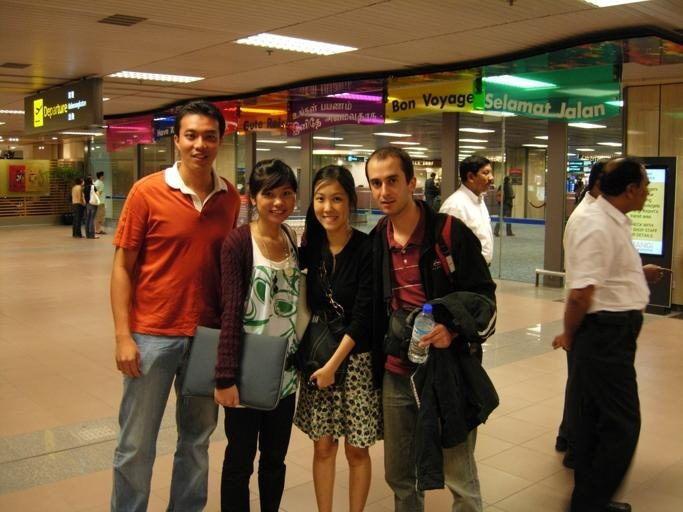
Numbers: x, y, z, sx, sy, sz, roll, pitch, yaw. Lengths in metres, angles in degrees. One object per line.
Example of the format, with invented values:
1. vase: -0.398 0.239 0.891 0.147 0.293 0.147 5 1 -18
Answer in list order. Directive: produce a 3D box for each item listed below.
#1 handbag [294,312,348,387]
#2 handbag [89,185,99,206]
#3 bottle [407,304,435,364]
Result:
1. handbag: -0.093 0.466 2.545 0.163 0.300 0.224 31 -44 -15
2. handbag: -8.117 -1.999 17.002 0.270 0.660 0.465 -6 9 -27
3. bottle: 0.355 0.350 2.310 0.094 0.298 0.117 -6 9 -28
